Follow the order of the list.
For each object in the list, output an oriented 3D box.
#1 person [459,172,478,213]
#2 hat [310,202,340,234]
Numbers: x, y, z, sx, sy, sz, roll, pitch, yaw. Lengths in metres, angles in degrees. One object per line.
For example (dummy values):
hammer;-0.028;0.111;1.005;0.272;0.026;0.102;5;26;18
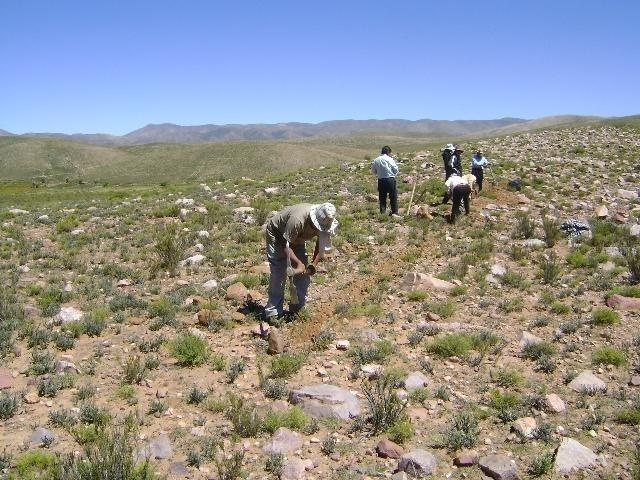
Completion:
person;5.593;-1.745;18.902;0.448;1.826;0.978;0;17;18
hat;0.070;-0.487;10.186;0.555;0.588;0.310;-11;-9;-31
